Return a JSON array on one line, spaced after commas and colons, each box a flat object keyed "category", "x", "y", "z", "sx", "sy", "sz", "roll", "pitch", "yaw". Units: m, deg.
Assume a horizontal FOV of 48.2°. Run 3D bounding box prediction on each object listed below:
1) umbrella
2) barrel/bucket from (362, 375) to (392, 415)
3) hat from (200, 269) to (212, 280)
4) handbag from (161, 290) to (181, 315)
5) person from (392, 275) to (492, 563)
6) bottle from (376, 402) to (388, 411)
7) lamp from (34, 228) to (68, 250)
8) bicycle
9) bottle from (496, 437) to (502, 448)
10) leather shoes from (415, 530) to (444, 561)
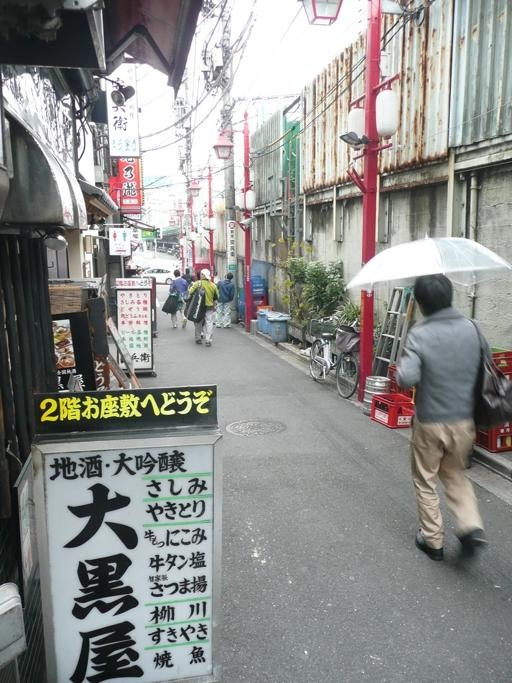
[{"category": "umbrella", "x": 1.689, "y": -0.788, "z": 5.670, "sx": 0.890, "sy": 0.381, "sz": 0.906, "roll": -1, "pitch": 15, "yaw": 46}, {"category": "barrel/bucket", "x": 1.720, "y": 0.792, "z": 8.571, "sx": 0.387, "sy": 0.752, "sz": 0.450, "roll": 2, "pitch": 2, "yaw": 1}, {"category": "hat", "x": -1.399, "y": -1.907, "z": 16.194, "sx": 0.251, "sy": 0.327, "sz": 0.316, "roll": -4, "pitch": 5, "yaw": -34}, {"category": "handbag", "x": -2.991, "y": -1.335, "z": 20.736, "sx": 0.547, "sy": 1.172, "sz": 0.872, "roll": 11, "pitch": 1, "yaw": 3}, {"category": "person", "x": 1.317, "y": 0.562, "z": 4.105, "sx": 0.649, "sy": 2.059, "sz": 0.403, "roll": 1, "pitch": 5, "yaw": 10}, {"category": "bottle", "x": 1.782, "y": 0.925, "z": 8.123, "sx": 0.088, "sy": 0.108, "sz": 0.165, "roll": 13, "pitch": 3, "yaw": -33}, {"category": "lamp", "x": -1.605, "y": -0.817, "z": 4.528, "sx": 0.206, "sy": 0.255, "sz": 0.142, "roll": 3, "pitch": 22, "yaw": 23}, {"category": "bicycle", "x": 1.596, "y": 0.247, "z": 10.623, "sx": 0.583, "sy": 1.069, "sz": 1.576, "roll": 1, "pitch": 5, "yaw": -12}, {"category": "bottle", "x": 2.627, "y": 1.102, "z": 6.235, "sx": 0.086, "sy": 0.112, "sz": 0.021, "roll": -3, "pitch": 6, "yaw": -33}, {"category": "leather shoes", "x": 1.273, "y": 1.525, "z": 4.255, "sx": 0.076, "sy": 0.121, "sz": 0.251, "roll": 1, "pitch": 18, "yaw": -6}]
